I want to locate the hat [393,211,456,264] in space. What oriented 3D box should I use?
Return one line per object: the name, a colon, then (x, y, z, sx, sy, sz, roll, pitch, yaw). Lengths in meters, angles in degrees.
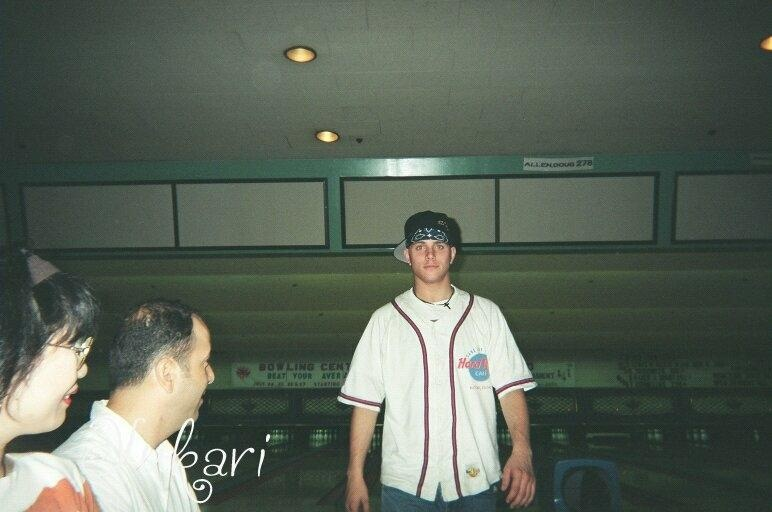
hat: (0.326, -0.157, 6.123, 0.387, 0.227, 0.480, -5, -13, 6)
